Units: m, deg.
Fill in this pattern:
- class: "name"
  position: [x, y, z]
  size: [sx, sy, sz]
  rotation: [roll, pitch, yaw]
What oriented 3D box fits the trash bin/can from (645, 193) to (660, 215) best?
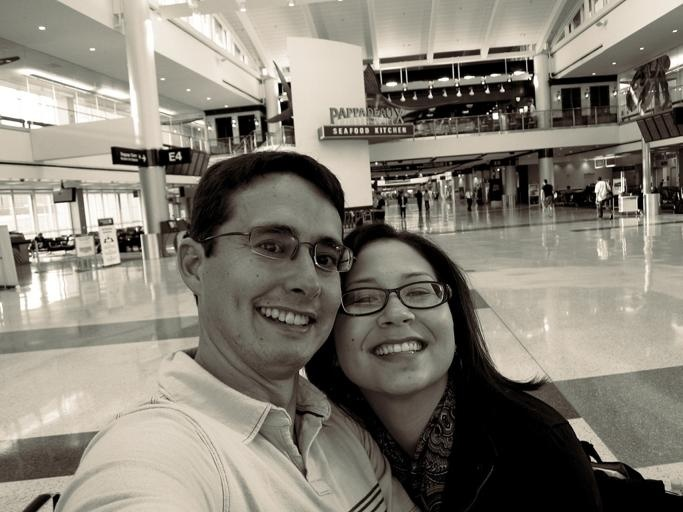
- class: "trash bin/can"
  position: [12.350, -2.068, 20.589]
  size: [0.526, 0.849, 1.463]
  rotation: [1, 5, 30]
